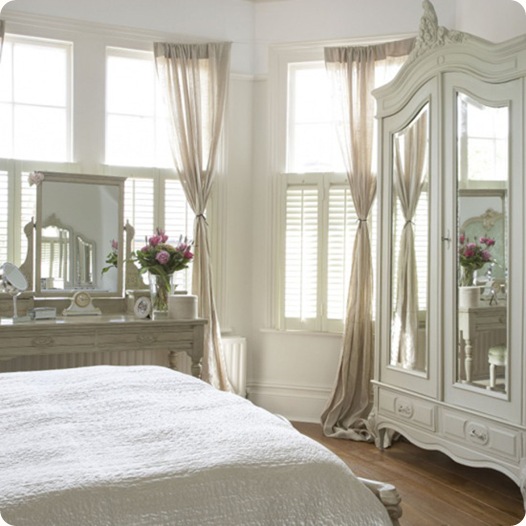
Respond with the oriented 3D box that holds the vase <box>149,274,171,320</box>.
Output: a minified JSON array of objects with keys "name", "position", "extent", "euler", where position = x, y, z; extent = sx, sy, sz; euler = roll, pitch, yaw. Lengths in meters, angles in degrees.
[{"name":"vase","position":[-0.651,0.216,3.460],"extent":[0.142,0.275,0.166],"euler":[-21,-30,31]}]

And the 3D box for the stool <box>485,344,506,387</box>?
[{"name":"stool","position":[1.103,0.483,2.493],"extent":[0.112,0.178,0.115],"euler":[0,-6,37]}]

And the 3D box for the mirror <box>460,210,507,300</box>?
[{"name":"mirror","position":[1.044,-0.046,2.550],"extent":[0.047,0.431,0.284],"euler":[-1,3,-18]}]

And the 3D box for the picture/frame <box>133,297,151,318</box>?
[{"name":"picture/frame","position":[-0.732,0.268,3.250],"extent":[0.113,0.127,0.026],"euler":[-26,-29,36]}]

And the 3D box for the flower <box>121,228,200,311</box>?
[{"name":"flower","position":[-0.623,0.015,3.377],"extent":[0.462,0.562,0.414],"euler":[-2,4,-35]}]

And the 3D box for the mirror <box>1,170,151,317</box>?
[{"name":"mirror","position":[-1.235,-0.113,3.432],"extent":[0.809,1.203,0.254],"euler":[2,-6,-30]}]
